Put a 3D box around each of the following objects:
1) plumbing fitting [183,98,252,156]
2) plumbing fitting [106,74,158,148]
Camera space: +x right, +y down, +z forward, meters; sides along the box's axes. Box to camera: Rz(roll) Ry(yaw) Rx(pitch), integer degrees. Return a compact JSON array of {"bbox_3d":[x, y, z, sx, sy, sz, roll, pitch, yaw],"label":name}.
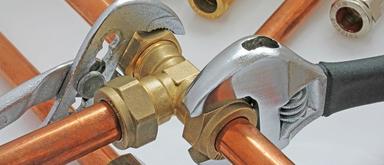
[{"bbox_3d":[0.079,0.124,1.454,0.195,0.111,0.151,-34,-67,24],"label":"plumbing fitting"},{"bbox_3d":[-0.175,0.083,1.434,0.076,0.142,0.141,-24,-35,-25],"label":"plumbing fitting"}]
